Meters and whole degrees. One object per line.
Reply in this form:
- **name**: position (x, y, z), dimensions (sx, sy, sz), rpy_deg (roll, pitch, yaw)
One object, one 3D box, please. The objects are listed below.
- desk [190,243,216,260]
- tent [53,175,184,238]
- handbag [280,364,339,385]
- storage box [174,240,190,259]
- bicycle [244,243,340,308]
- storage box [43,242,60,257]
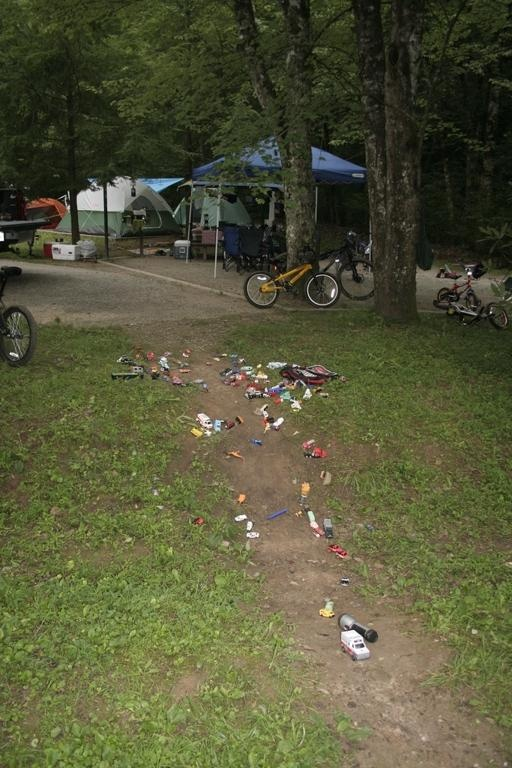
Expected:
- **desk**: position (-1.896, -4.680, 22.041), dimensions (0.966, 0.607, 0.947), rpy_deg (0, 19, -12)
- **tent**: position (-7.013, -7.666, 27.052), dimensions (3.288, 1.846, 3.298), rpy_deg (10, 7, -22)
- **handbag**: position (0.673, -0.122, 7.875), dimensions (0.465, 0.142, 0.350), rpy_deg (2, 11, -19)
- **storage box**: position (-2.471, -4.499, 20.782), dimensions (0.433, 0.675, 0.771), rpy_deg (5, 10, 6)
- **bicycle**: position (0.711, -2.027, 12.150), dimensions (1.863, 1.187, 0.960), rpy_deg (1, -12, -1)
- **storage box**: position (-6.430, -4.254, 19.758), dimensions (0.654, 0.642, 0.471), rpy_deg (-1, 10, -23)
